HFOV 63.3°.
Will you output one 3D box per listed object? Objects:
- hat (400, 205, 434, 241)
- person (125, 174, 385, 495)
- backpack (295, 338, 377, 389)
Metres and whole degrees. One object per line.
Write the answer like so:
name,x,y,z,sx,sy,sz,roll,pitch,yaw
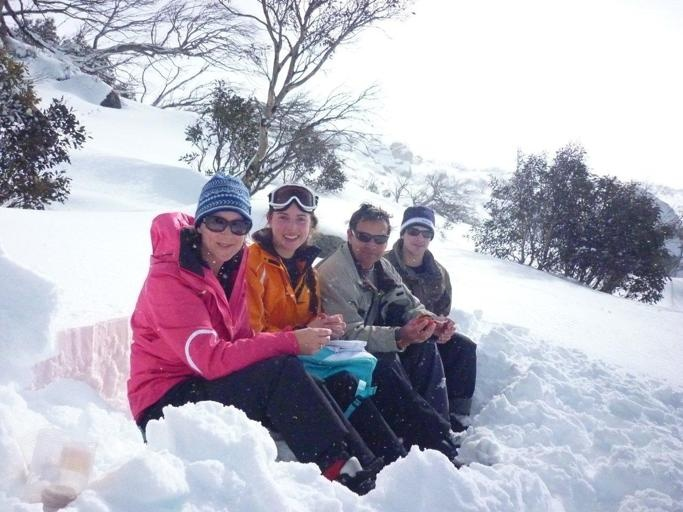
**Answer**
hat,0.800,-0.356,5.846,0.247,0.275,0.341,8,-15,-1
person,-0.685,0.478,4.129,1.731,1.629,0.555,16,6,7
backpack,0.005,0.807,4.313,0.425,0.160,0.423,5,2,-24
